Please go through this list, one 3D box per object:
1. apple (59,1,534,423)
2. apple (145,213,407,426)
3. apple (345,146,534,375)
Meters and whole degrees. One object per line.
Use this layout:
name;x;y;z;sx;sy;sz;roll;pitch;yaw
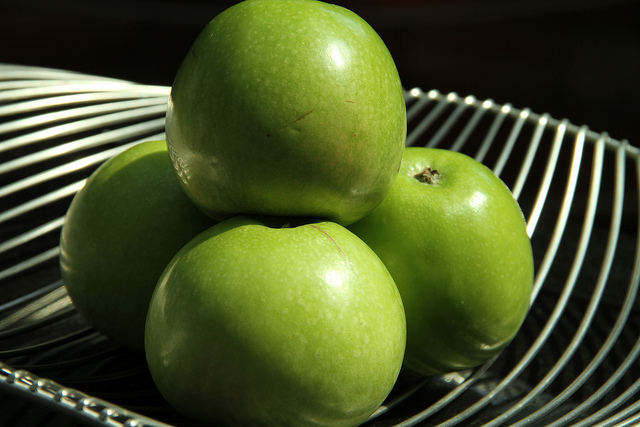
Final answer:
apple;-0.030;0.025;0.745;0.426;0.343;0.435;1;7;-5
apple;-0.045;0.084;0.608;0.197;0.153;0.200;3;4;-34
apple;0.137;0.052;0.723;0.197;0.236;0.211;9;42;16
